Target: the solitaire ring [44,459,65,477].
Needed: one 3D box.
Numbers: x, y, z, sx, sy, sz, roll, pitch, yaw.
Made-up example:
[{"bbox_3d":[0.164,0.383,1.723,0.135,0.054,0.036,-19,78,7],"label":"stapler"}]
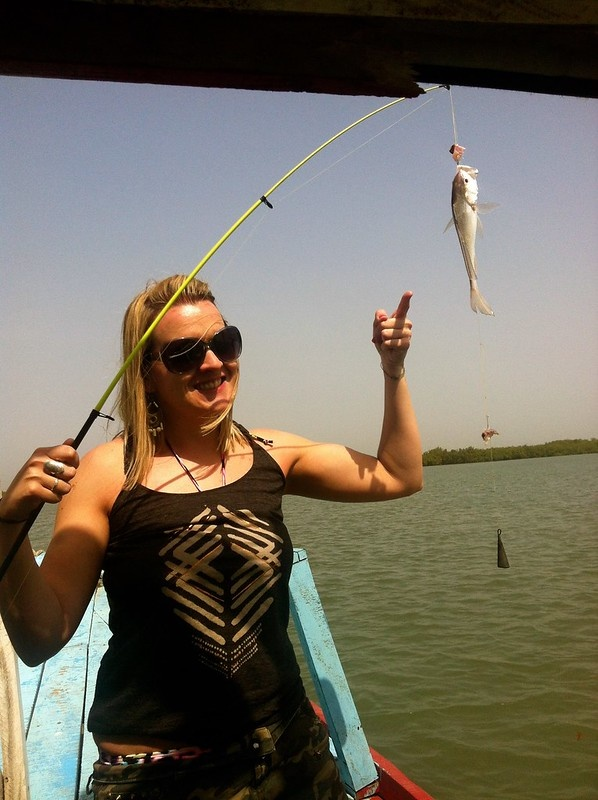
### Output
[{"bbox_3d":[-0.583,0.163,1.598,0.046,0.041,0.024,-4,-5,-18],"label":"solitaire ring"}]
